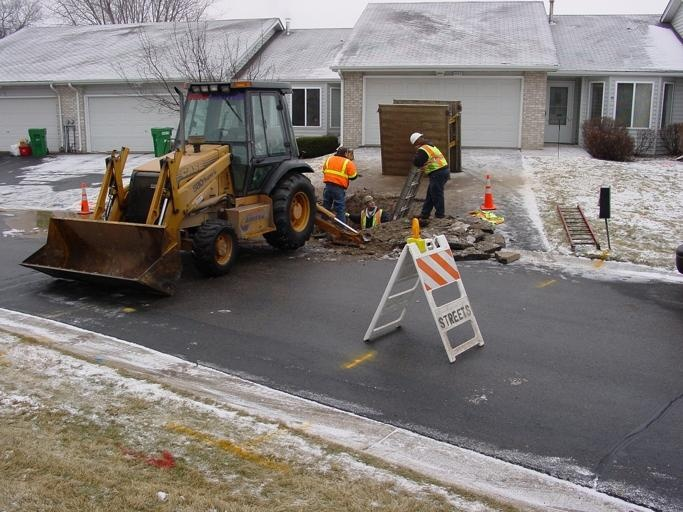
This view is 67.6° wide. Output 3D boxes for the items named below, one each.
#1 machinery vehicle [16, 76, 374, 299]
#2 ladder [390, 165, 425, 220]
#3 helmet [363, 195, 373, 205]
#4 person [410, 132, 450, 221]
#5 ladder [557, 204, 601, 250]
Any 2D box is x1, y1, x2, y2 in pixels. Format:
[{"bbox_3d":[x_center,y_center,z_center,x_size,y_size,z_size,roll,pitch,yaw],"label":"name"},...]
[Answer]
[{"bbox_3d":[-2.063,-1.800,9.772,2.675,2.631,6.932,19,31,30],"label":"machinery vehicle"},{"bbox_3d":[1.739,-1.663,13.440,0.322,0.599,3.033,19,28,21],"label":"ladder"},{"bbox_3d":[0.648,-1.393,12.326,0.277,0.118,0.314,-12,13,18],"label":"helmet"},{"bbox_3d":[2.128,-1.863,12.063,0.960,1.980,1.320,9,8,-8],"label":"person"},{"bbox_3d":[5.205,-0.662,11.413,0.617,0.157,2.220,-2,21,8],"label":"ladder"}]
